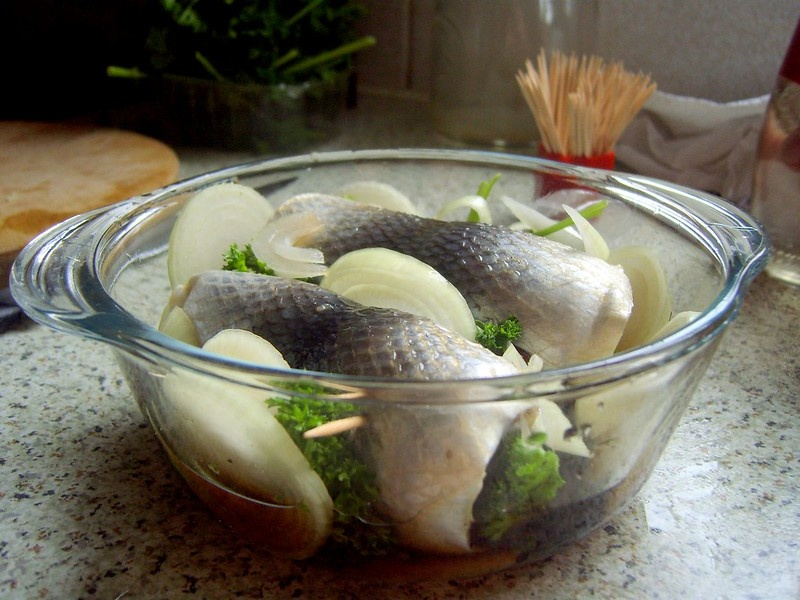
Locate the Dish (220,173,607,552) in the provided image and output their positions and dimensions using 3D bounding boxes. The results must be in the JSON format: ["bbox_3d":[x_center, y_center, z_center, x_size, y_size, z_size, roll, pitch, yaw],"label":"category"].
[{"bbox_3d":[0.005,0.047,0.393,0.346,0.185,0.107,0,12,-1],"label":"Dish"}]

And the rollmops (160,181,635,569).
[{"bbox_3d":[-0.016,0.008,0.546,0.284,0.115,0.269,19,33,28],"label":"rollmops"}]
